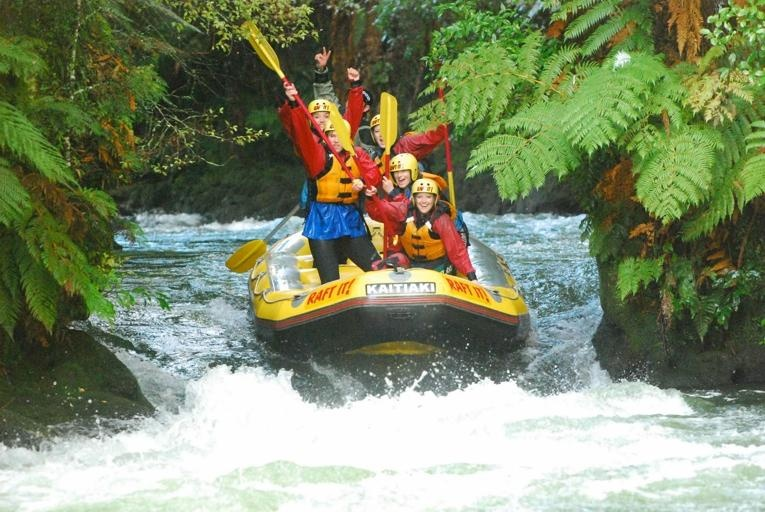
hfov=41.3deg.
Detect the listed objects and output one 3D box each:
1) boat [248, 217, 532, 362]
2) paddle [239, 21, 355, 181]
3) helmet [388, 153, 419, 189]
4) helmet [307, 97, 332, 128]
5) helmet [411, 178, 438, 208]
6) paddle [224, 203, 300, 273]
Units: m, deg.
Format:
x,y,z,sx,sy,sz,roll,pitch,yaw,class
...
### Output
x,y,z,sx,sy,sz,roll,pitch,yaw,class
-0.012,0.351,10.922,3.133,1.277,2.545,-3,2,11,boat
-0.885,-1.519,10.204,1.162,1.540,0.560,-6,4,-40,paddle
0.235,-0.898,10.735,0.266,0.365,0.360,-11,-1,38,helmet
-0.643,-1.476,10.511,0.218,0.294,0.285,0,0,-8,helmet
0.439,-0.647,10.341,0.287,0.278,0.300,-3,3,0,helmet
-1.254,-0.246,11.749,0.118,0.335,1.541,13,41,27,paddle
